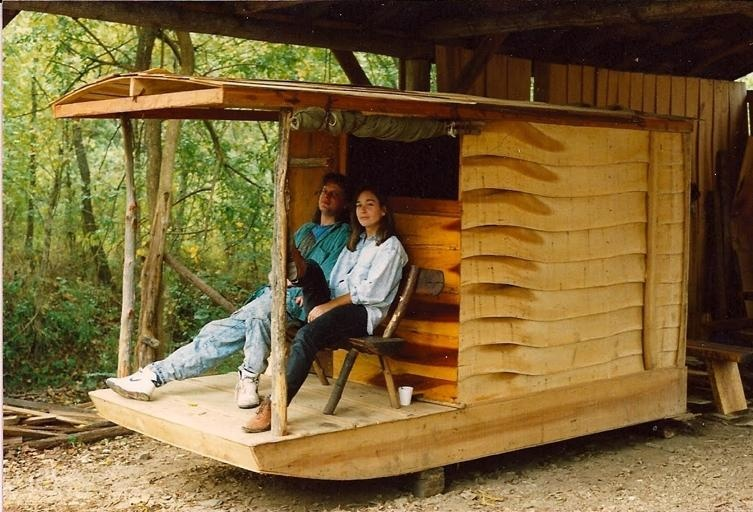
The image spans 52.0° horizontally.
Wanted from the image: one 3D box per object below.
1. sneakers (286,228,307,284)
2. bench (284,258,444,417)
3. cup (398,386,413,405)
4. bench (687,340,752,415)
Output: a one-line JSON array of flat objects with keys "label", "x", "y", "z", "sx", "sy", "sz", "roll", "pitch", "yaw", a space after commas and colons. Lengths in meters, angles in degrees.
[{"label": "sneakers", "x": -0.670, "y": 0.007, "z": 6.417, "sx": 0.181, "sy": 0.395, "sz": 0.208, "roll": 4, "pitch": 12, "yaw": 36}, {"label": "bench", "x": -0.275, "y": 0.571, "z": 7.000, "sx": 1.232, "sy": 1.244, "sz": 1.154, "roll": -1, "pitch": 17, "yaw": -43}, {"label": "cup", "x": 0.258, "y": 1.267, "z": 6.934, "sx": 0.178, "sy": 0.143, "sz": 0.153, "roll": 1, "pitch": 0, "yaw": -16}, {"label": "bench", "x": 3.963, "y": 1.453, "z": 8.985, "sx": 0.304, "sy": 0.405, "sz": 0.927, "roll": -1, "pitch": -1, "yaw": -10}]
